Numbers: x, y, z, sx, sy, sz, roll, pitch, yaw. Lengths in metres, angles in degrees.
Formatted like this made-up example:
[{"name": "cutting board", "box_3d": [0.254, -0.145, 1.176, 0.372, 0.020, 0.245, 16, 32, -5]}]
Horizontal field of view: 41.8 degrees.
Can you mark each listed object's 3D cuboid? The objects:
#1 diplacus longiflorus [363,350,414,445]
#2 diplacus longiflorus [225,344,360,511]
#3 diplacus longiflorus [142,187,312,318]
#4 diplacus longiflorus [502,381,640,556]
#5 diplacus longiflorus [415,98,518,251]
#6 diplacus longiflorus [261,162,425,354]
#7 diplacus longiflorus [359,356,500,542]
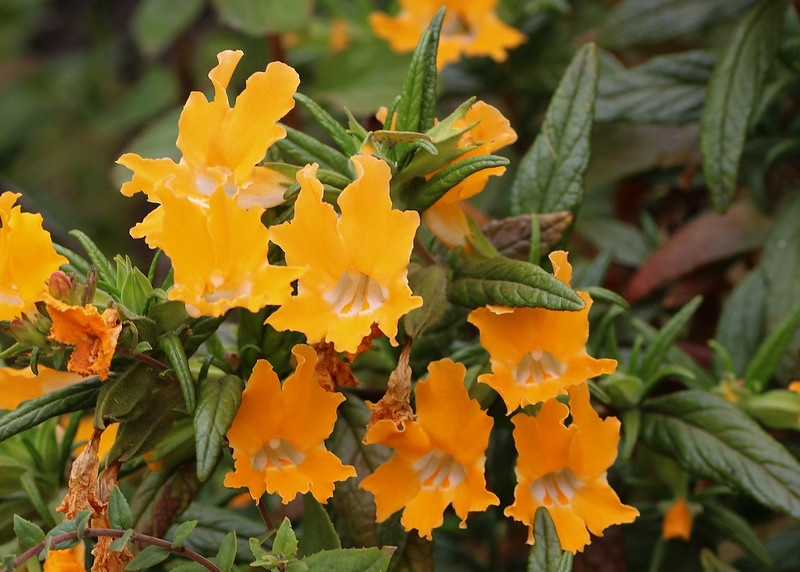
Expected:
[{"name": "diplacus longiflorus", "box_3d": [-0.016, 0.160, 1.495, 0.078, 0.114, 0.112, -10, -25, -3]}, {"name": "diplacus longiflorus", "box_3d": [-0.157, 0.204, 1.467, 0.173, 0.189, 0.159, 2, -28, -27]}, {"name": "diplacus longiflorus", "box_3d": [-0.242, -0.033, 1.389, 0.165, 0.176, 0.091, 18, -29, -17]}, {"name": "diplacus longiflorus", "box_3d": [0.237, 0.257, 1.474, 0.190, 0.241, 0.089, 17, -14, -13]}, {"name": "diplacus longiflorus", "box_3d": [0.096, -0.166, 1.521, 0.069, 0.184, 0.192, 14, -77, -14]}, {"name": "diplacus longiflorus", "box_3d": [-0.074, -0.055, 1.438, 0.200, 0.101, 0.250, -9, -30, 18]}, {"name": "diplacus longiflorus", "box_3d": [0.054, 0.245, 1.478, 0.216, 0.279, 0.123, 8, -44, 5]}]
